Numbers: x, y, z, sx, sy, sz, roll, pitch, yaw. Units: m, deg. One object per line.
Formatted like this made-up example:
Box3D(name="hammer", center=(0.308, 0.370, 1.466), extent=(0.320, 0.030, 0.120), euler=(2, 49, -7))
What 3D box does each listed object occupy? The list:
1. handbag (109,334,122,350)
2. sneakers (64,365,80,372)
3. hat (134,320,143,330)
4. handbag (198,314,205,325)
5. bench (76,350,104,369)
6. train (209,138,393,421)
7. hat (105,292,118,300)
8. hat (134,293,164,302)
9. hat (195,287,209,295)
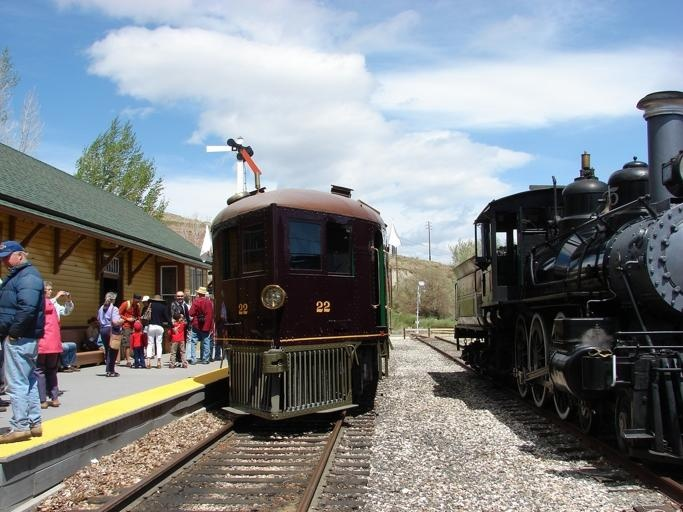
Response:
Box3D(name="handbag", center=(-4.700, 1.775, 11.822), extent=(0.219, 0.303, 0.305), euler=(0, 1, -23))
Box3D(name="sneakers", center=(-5.952, 2.474, 12.592), extent=(0.095, 0.115, 0.274), euler=(-1, -2, 24))
Box3D(name="hat", center=(-4.692, 1.576, 13.080), extent=(0.150, 0.210, 0.207), euler=(-2, 5, 23))
Box3D(name="handbag", center=(-3.379, 1.504, 13.680), extent=(0.136, 0.213, 0.070), euler=(3, 1, -3))
Box3D(name="bench", center=(-5.989, 2.446, 13.567), extent=(0.308, 0.412, 1.190), euler=(1, 0, 0))
Box3D(name="train", center=(-0.670, 0.825, 11.378), extent=(1.822, 3.115, 6.012), euler=(-1, -5, 6))
Box3D(name="hat", center=(-4.886, 0.846, 12.124), extent=(0.211, 0.136, 0.252), euler=(-1, 0, 6))
Box3D(name="hat", center=(-5.313, 1.116, 15.586), extent=(0.661, 0.335, 0.361), euler=(0, -11, 22))
Box3D(name="hat", center=(-3.428, 0.861, 14.145), extent=(0.388, 0.165, 0.411), euler=(6, 2, -1))
